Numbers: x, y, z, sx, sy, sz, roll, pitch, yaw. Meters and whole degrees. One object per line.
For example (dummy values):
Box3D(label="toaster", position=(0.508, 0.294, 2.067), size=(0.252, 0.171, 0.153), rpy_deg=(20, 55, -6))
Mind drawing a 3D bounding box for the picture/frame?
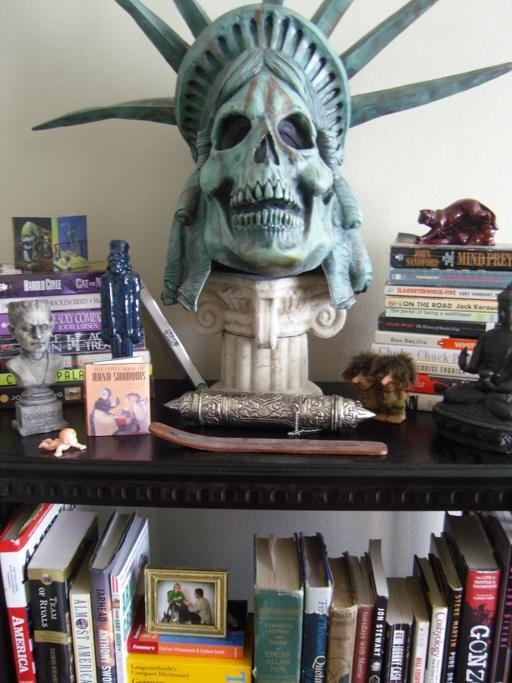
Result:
Box3D(label="picture/frame", position=(-0.112, 0.417, 0.984), size=(0.126, 0.098, 0.014), rpy_deg=(1, 10, 3))

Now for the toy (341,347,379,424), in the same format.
Box3D(label="toy", position=(0.183, 0.073, 1.041), size=(0.057, 0.099, 0.127), rpy_deg=(-1, 7, -4))

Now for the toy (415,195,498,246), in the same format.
Box3D(label="toy", position=(0.358, -0.211, 1.105), size=(0.149, 0.080, 0.075), rpy_deg=(6, 12, 15))
